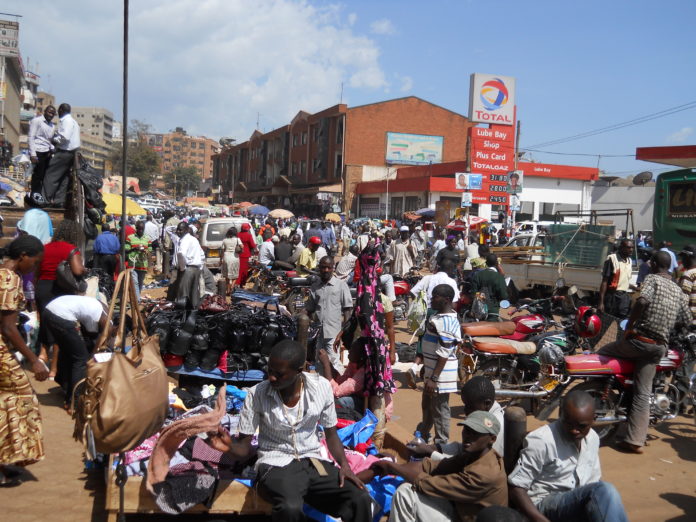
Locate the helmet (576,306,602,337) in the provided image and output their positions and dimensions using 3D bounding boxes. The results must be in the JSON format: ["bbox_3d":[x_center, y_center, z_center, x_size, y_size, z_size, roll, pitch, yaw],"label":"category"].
[{"bbox_3d":[3.264,0.823,7.853,0.297,0.418,0.412,7,0,-16],"label":"helmet"}]

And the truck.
[{"bbox_3d":[5.329,-0.086,15.009,1.989,1.465,2.945,-1,5,-26],"label":"truck"}]

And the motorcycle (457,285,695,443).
[{"bbox_3d":[2.756,1.178,7.272,2.432,1.595,1.604,-2,3,-14],"label":"motorcycle"}]

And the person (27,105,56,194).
[{"bbox_3d":[-5.443,-1.974,10.306,0.406,1.495,0.452,2,4,-24],"label":"person"}]

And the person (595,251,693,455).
[{"bbox_3d":[3.547,1.062,6.888,0.889,1.813,0.516,2,4,-33],"label":"person"}]

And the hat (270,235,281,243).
[{"bbox_3d":[-2.106,-0.647,16.929,0.200,0.211,0.272,-1,-17,0],"label":"hat"}]

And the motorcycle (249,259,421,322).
[{"bbox_3d":[-0.897,0.786,13.279,2.810,1.623,1.425,-2,5,-21],"label":"motorcycle"}]

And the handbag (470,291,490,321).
[{"bbox_3d":[2.099,0.710,9.208,0.214,0.178,0.448,21,-5,7],"label":"handbag"}]

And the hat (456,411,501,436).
[{"bbox_3d":[0.983,1.209,4.307,0.236,0.110,0.167,13,-5,-13],"label":"hat"}]

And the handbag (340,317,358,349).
[{"bbox_3d":[0.018,0.809,6.544,0.101,0.329,0.242,17,-6,-33],"label":"handbag"}]

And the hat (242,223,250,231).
[{"bbox_3d":[-2.811,-0.925,15.945,0.224,0.209,0.192,-3,0,37],"label":"hat"}]

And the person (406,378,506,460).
[{"bbox_3d":[1.019,1.350,4.948,1.000,0.584,0.486,-2,3,-32],"label":"person"}]

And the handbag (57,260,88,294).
[{"bbox_3d":[-3.469,0.199,7.275,0.226,0.459,0.453,-7,2,-10],"label":"handbag"}]

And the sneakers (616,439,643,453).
[{"bbox_3d":[3.278,2.190,6.781,0.273,0.118,0.118,3,7,39],"label":"sneakers"}]
